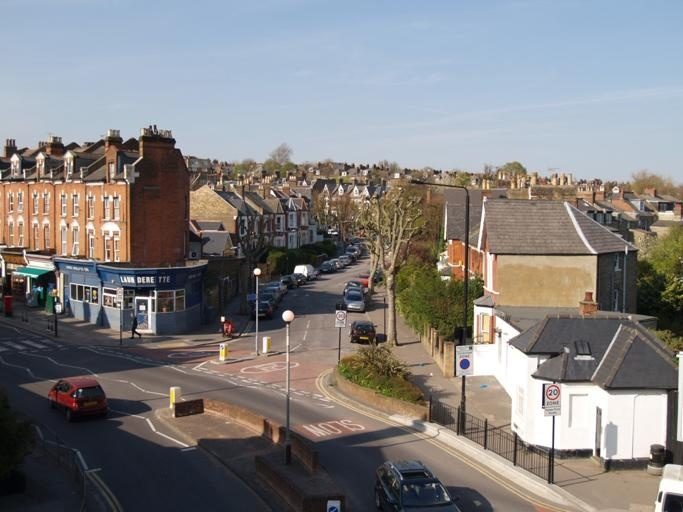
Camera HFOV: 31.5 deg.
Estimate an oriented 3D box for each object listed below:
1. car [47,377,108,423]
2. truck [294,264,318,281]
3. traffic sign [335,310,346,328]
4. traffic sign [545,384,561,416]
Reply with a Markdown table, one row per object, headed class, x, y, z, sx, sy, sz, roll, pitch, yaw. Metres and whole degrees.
| class | x | y | z | sx | sy | sz | roll | pitch | yaw |
| --- | --- | --- | --- | --- | --- | --- | --- | --- | --- |
| car | -14.595 | 7.680 | 66.884 | 2.451 | 2.048 | 4.373 | -3 | 10 | -36 |
| truck | -3.164 | 1.597 | 112.669 | 1.234 | 0.945 | 1.856 | 4 | 13 | 24 |
| traffic sign | 0.053 | 3.928 | 74.024 | 0.482 | 1.194 | 1.131 | 0 | 14 | 5 |
| traffic sign | 10.448 | 7.059 | 59.268 | 0.808 | 1.713 | 1.200 | 1 | 14 | 11 |
